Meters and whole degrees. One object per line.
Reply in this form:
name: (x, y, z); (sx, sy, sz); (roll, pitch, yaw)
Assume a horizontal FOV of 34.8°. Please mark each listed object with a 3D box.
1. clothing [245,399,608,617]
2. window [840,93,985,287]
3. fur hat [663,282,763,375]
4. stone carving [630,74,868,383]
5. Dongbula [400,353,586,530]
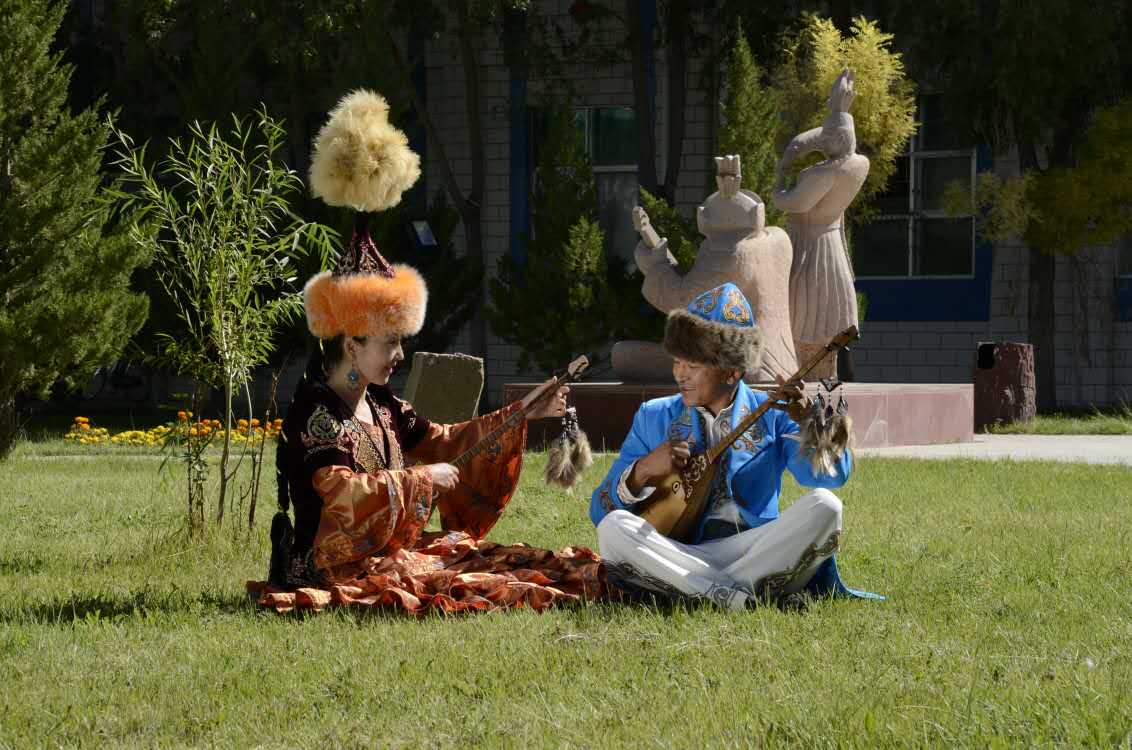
clothing: (-1.057, 1.134, 14.044); (1.822, 1.455, 1.929); (-3, -3, 34)
window: (5.010, -2.669, 25.619); (2.252, 2.358, 0.188); (18, 4, 10)
fur hat: (1.130, -0.343, 13.739); (0.633, 0.651, 0.677); (35, 15, 30)
stone carving: (2.202, -1.502, 21.117); (3.038, 4.653, 2.656); (2, 2, 31)
Dongbula: (-0.619, 0.630, 15.521); (2.174, 0.302, 0.272); (-42, 3, 7)
